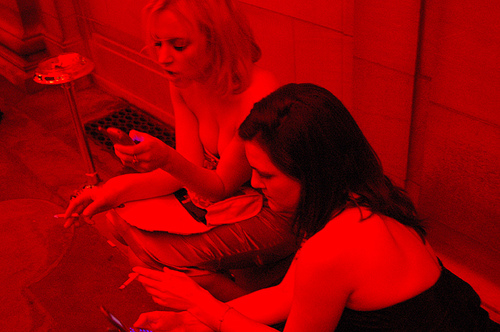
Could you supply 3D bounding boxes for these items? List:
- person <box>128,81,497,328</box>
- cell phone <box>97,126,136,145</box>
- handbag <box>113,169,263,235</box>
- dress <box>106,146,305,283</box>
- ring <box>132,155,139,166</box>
[{"bbox_3d":[0.313,0.195,2.082,1.259,1.667,0.639,-8,34,26],"label":"person"},{"bbox_3d":[-0.727,-0.144,2.203,0.157,0.038,0.109,17,-13,43],"label":"cell phone"},{"bbox_3d":[-0.392,0.174,2.759,0.990,0.382,0.705,2,35,-5],"label":"handbag"},{"bbox_3d":[-0.227,0.197,2.589,0.812,0.711,0.705,2,38,-9],"label":"dress"},{"bbox_3d":[-0.622,-0.036,2.213,0.021,0.050,0.029,29,60,28],"label":"ring"}]
